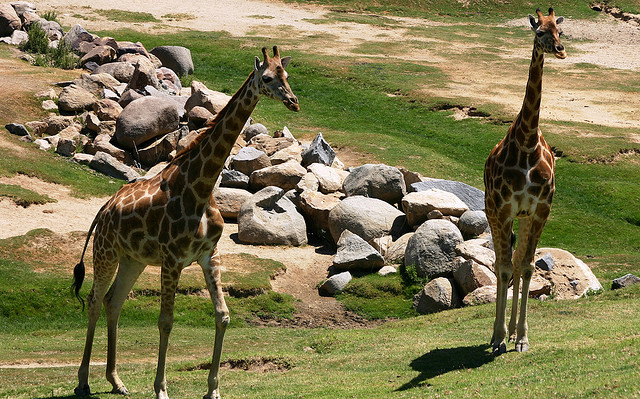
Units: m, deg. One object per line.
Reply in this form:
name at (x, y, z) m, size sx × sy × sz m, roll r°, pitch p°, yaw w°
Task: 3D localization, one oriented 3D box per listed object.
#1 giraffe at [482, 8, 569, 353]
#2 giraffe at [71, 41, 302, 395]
giraffe at (11.199, -0.648, 38.282) m, size 4.063 × 13.586 × 7.784 m, roll 2°, pitch 1°, yaw 6°
giraffe at (-5.643, 0.909, 35.441) m, size 6.932 × 13.499 × 2.166 m, roll 3°, pitch 8°, yaw 6°
